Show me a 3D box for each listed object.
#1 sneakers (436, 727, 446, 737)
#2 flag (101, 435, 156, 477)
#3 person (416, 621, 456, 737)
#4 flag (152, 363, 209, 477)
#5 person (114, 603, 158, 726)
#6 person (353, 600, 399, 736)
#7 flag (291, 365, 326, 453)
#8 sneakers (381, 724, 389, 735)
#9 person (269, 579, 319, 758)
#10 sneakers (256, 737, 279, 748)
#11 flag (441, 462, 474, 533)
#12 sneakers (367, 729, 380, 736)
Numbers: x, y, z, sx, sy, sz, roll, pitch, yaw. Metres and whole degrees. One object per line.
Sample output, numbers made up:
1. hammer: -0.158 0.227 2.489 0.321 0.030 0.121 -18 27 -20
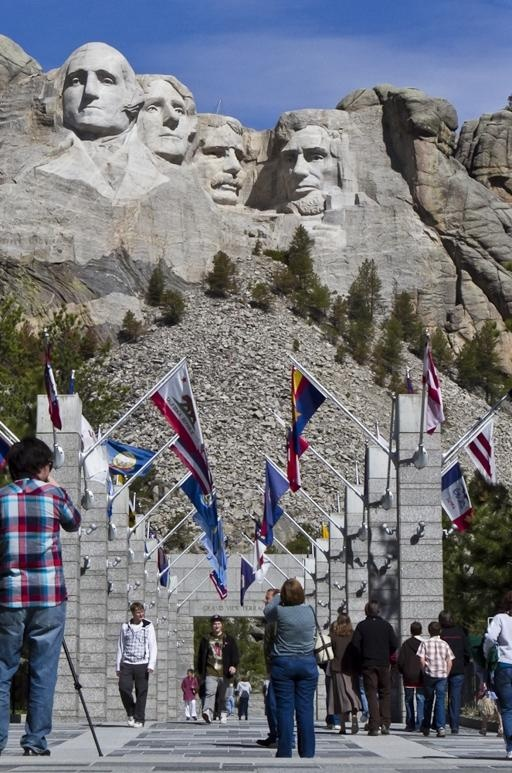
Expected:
1. sneakers: 2.498 4.730 29.009 0.126 0.214 0.425 2 -5 5
2. flag: -2.409 1.459 41.109 0.833 0.714 1.427 -1 -7 -4
3. person: 2.439 4.025 29.138 0.470 1.529 0.691 -2 -6 4
4. flag: -1.279 0.608 36.792 0.678 2.032 1.591 -2 -6 11
5. person: -1.660 3.936 29.922 0.530 1.754 0.944 -1 -6 -3
6. person: 1.628 3.800 28.527 0.533 1.771 0.751 -5 -7 33
7. flag: 0.885 0.422 37.377 0.552 1.534 0.661 -1 -6 2
8. sneakers: 1.721 4.659 28.702 0.100 0.126 0.073 1 -3 -13
9. person: 0.409 3.279 24.676 0.590 2.044 1.104 -1 -6 0
10. sneakers: 0.129 4.478 26.748 0.238 0.135 0.114 4 -4 6
11. flag: 3.629 2.029 38.790 0.536 1.189 1.808 -2 -7 5
12. sneakers: 1.555 4.631 28.381 0.136 0.086 0.238 -2 -7 1
